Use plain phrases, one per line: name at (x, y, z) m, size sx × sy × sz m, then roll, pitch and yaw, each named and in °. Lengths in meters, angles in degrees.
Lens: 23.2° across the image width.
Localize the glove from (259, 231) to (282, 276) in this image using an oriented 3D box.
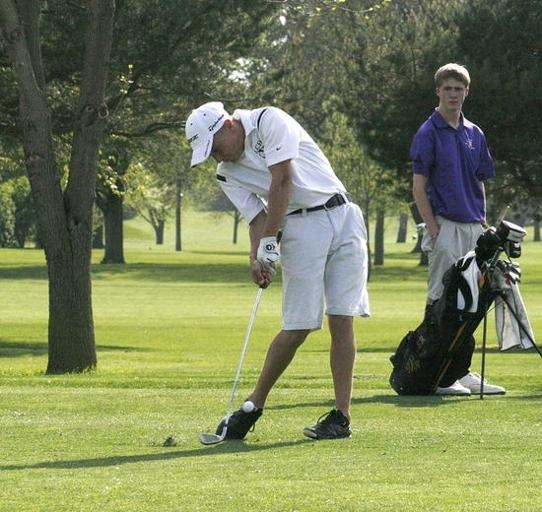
glove at (-0.018, -0.025, 10.359) m, size 0.183 × 0.326 × 0.220 m, roll 0°, pitch 2°, yaw -1°

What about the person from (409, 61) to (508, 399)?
person at (1.561, -0.224, 11.935) m, size 0.917 × 2.812 × 0.902 m, roll 1°, pitch 0°, yaw 42°

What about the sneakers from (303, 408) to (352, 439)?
sneakers at (0.438, 1.299, 10.233) m, size 0.367 × 0.219 × 0.242 m, roll 0°, pitch 2°, yaw 5°

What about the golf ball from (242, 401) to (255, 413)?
golf ball at (-0.180, 1.169, 10.263) m, size 0.091 × 0.071 × 0.076 m, roll 9°, pitch 23°, yaw -13°

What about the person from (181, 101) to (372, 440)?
person at (0.068, 0.085, 10.333) m, size 1.312 × 2.772 × 0.977 m, roll 1°, pitch 0°, yaw 30°

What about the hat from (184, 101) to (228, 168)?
hat at (-0.523, -0.993, 10.285) m, size 0.267 × 0.501 × 0.309 m, roll 35°, pitch -20°, yaw -28°

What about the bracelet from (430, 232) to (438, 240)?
bracelet at (1.428, -0.174, 11.561) m, size 0.065 × 0.066 × 0.070 m, roll 11°, pitch 1°, yaw 7°

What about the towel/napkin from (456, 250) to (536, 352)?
towel/napkin at (1.885, 0.358, 11.271) m, size 0.544 × 0.970 × 0.542 m, roll -2°, pitch 1°, yaw -13°
